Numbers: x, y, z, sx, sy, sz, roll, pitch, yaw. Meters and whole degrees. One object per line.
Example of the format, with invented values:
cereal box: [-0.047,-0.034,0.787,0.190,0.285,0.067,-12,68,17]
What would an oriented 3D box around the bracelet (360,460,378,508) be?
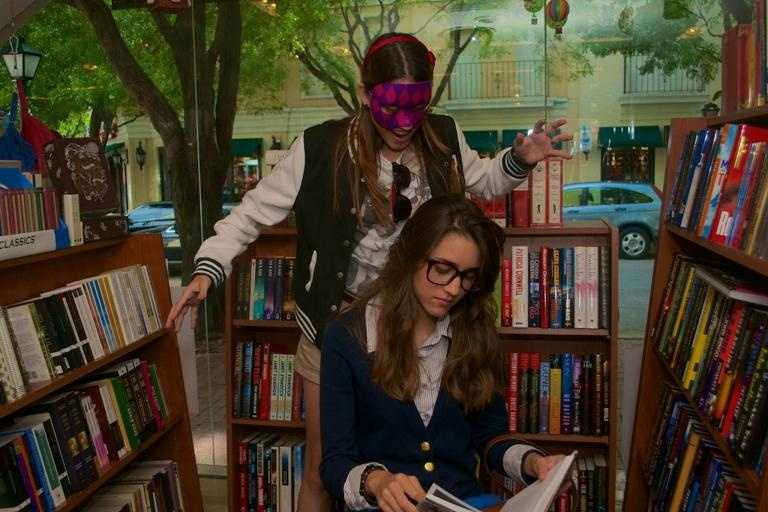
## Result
bracelet: [-0.062,0.767,2.072,0.033,0.102,0.087,-12,1,5]
